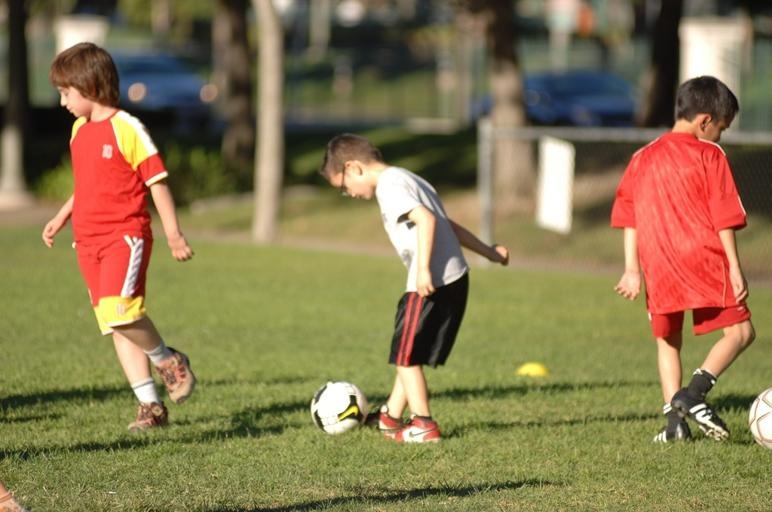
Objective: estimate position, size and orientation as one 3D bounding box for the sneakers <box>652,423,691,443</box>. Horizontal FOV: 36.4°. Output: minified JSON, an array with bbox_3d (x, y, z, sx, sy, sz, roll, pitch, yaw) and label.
[{"bbox_3d":[2.400,1.490,9.918,0.296,0.121,0.157,-1,1,34],"label":"sneakers"}]

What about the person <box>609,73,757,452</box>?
[{"bbox_3d":[2.498,0.270,9.892,1.164,2.547,0.556,4,11,16],"label":"person"}]

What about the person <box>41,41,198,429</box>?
[{"bbox_3d":[-2.209,-0.244,9.878,1.156,2.981,0.508,7,13,29],"label":"person"}]

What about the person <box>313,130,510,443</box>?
[{"bbox_3d":[0.219,0.291,9.833,1.350,2.520,0.728,2,11,4],"label":"person"}]

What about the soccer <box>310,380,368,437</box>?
[{"bbox_3d":[-0.428,1.296,10.114,0.424,0.419,0.430,-54,6,-26],"label":"soccer"}]

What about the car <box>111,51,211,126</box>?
[{"bbox_3d":[-5.479,-4.202,29.380,2.601,2.072,4.436,-3,7,-30],"label":"car"}]

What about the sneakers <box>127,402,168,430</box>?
[{"bbox_3d":[-2.036,1.355,10.017,0.146,0.176,0.408,-1,-4,25],"label":"sneakers"}]

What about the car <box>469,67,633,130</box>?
[{"bbox_3d":[4.174,-3.437,25.765,3.294,1.011,1.958,-5,9,-23],"label":"car"}]

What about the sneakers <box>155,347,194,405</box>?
[{"bbox_3d":[-1.770,1.010,10.097,0.241,0.534,0.240,-25,-8,23],"label":"sneakers"}]
